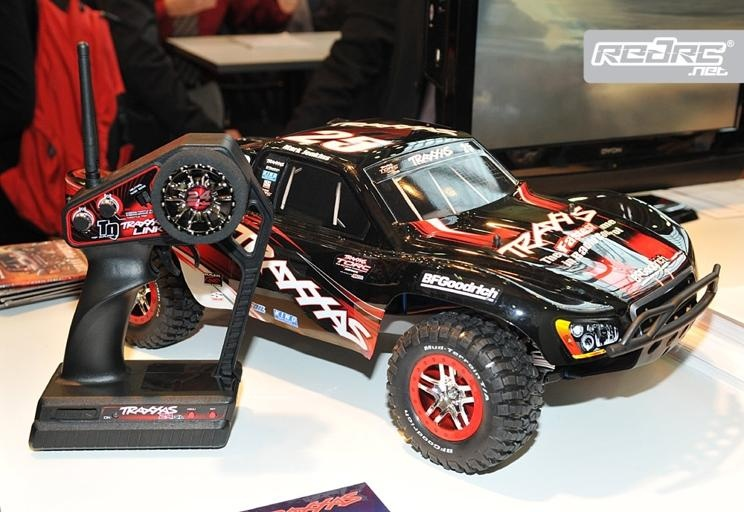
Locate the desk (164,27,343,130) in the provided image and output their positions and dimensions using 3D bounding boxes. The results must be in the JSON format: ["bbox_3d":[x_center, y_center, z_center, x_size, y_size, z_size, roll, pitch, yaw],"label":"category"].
[{"bbox_3d":[-1.129,-1.830,5.648,2.317,0.878,0.888,-3,63,-8],"label":"desk"}]
